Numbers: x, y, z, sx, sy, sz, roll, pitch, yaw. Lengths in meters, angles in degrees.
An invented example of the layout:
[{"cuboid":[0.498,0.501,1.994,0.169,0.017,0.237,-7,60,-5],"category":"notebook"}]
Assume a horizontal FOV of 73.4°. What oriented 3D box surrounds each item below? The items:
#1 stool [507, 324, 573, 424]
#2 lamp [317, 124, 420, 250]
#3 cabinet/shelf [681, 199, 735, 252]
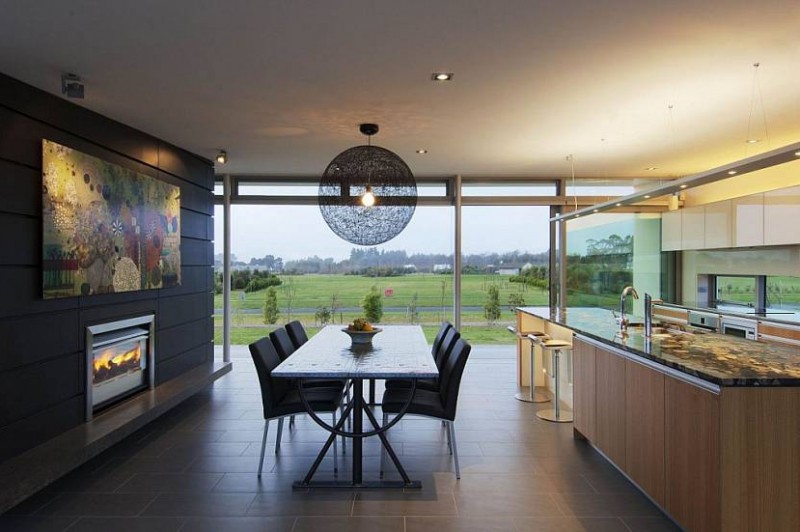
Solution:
[{"cuboid":[1.767,1.356,6.625,0.360,0.672,1.102,-1,1,-9],"category":"stool"},{"cuboid":[-0.338,-0.857,5.588,0.972,1.327,1.012,-3,-9,21],"category":"lamp"},{"cuboid":[4.121,-0.489,7.393,0.666,0.583,0.343,-2,4,-6],"category":"cabinet/shelf"}]
